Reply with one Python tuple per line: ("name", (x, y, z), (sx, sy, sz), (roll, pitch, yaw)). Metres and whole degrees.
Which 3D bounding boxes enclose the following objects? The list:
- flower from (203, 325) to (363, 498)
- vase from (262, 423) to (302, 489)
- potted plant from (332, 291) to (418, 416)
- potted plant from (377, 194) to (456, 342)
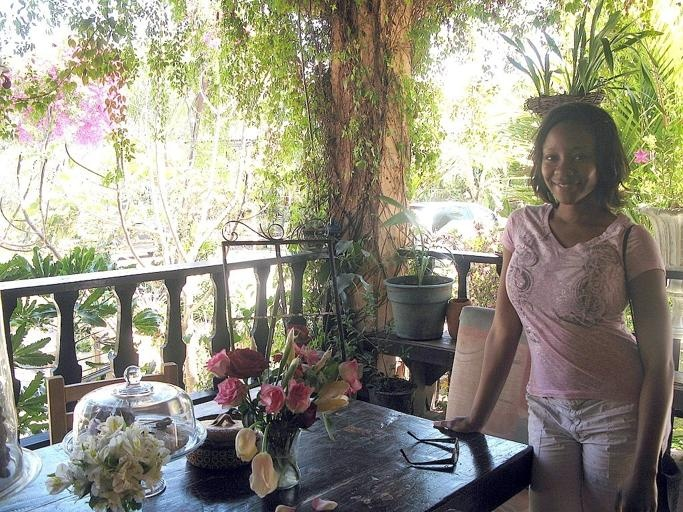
("flower", (-0.181, 0.382, 1.234), (0.327, 0.405, 0.336), (-5, 9, -44))
("vase", (-0.147, 0.505, 1.207), (0.101, 0.148, 0.102), (-2, -13, -11))
("potted plant", (0.255, 0.724, 3.116), (0.459, 0.868, 0.463), (1, -6, -36))
("potted plant", (0.504, 0.068, 3.057), (0.455, 0.864, 0.403), (-3, 4, -24))
